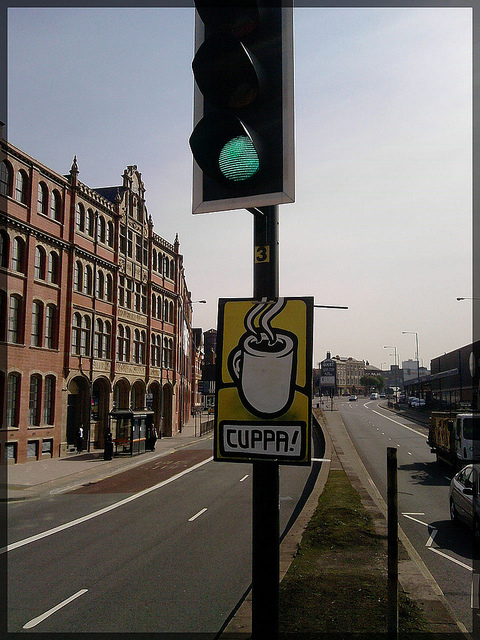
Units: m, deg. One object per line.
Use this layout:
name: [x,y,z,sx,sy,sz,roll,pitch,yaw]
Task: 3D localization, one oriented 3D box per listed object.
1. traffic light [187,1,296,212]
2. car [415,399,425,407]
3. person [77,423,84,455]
traffic light: [-0.003,-1.068,2.814,0.579,1.077,0.337,-4,-6,10]
car: [32.018,14.837,97.322,1.563,1.266,3.500,-7,-9,19]
person: [-10.718,7.923,36.694,0.335,1.914,1.212,-1,-6,-12]
